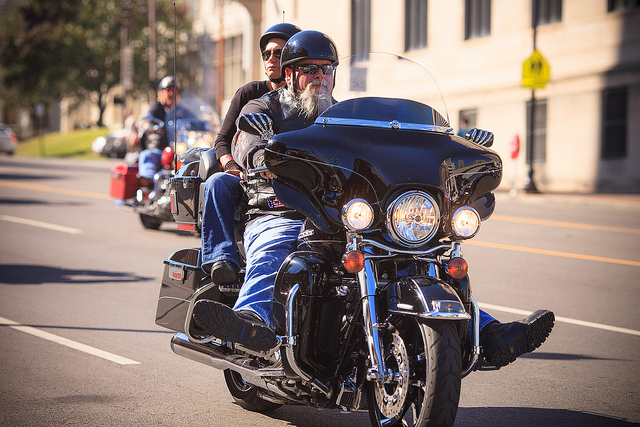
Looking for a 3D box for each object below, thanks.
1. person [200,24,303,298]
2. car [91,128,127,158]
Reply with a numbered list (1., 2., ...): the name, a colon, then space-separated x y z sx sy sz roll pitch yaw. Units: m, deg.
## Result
1. person: -0.569 -0.549 6.384 0.907 2.602 1.255 7 -1 5
2. car: -14.013 -4.713 45.820 2.616 1.283 2.046 0 6 -30
